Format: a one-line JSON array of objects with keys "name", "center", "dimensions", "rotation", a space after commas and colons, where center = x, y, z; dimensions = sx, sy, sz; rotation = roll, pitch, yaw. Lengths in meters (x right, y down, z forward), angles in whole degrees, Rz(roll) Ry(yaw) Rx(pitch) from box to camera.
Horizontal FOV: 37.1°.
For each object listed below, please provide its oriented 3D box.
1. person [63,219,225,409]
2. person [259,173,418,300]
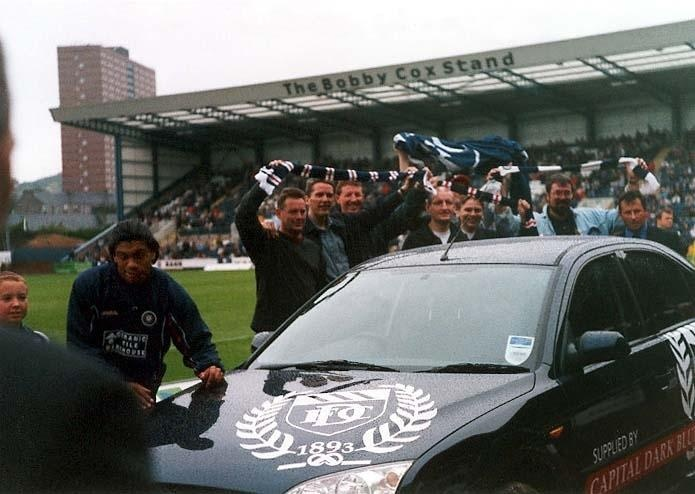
[{"name": "person", "center": [-1.204, 0.425, 6.271], "dimensions": [0.881, 1.193, 0.660], "rotation": [1, 0, 1]}, {"name": "person", "center": [-0.062, 0.081, 8.987], "dimensions": [1.184, 2.124, 0.548], "rotation": [4, 44, 3]}]
